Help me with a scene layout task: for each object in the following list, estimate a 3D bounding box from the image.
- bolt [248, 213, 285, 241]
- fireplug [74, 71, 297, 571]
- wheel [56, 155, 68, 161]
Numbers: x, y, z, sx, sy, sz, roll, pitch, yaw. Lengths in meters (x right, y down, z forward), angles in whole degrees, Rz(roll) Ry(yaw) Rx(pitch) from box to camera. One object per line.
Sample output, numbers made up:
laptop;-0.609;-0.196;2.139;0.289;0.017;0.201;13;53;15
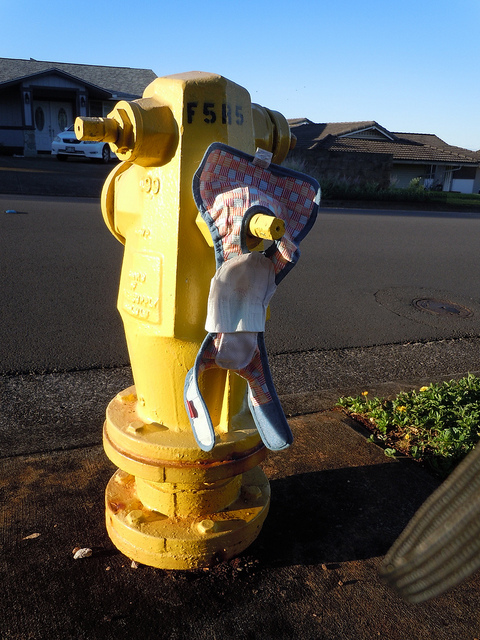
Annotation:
bolt;0.066;-0.228;1.374;0.067;0.064;0.131;-1;20;-16
fireplug;-0.176;0.014;2.009;0.877;1.590;0.741;3;12;2
wheel;-6.587;-6.180;21.281;0.451;0.113;0.417;1;1;0
